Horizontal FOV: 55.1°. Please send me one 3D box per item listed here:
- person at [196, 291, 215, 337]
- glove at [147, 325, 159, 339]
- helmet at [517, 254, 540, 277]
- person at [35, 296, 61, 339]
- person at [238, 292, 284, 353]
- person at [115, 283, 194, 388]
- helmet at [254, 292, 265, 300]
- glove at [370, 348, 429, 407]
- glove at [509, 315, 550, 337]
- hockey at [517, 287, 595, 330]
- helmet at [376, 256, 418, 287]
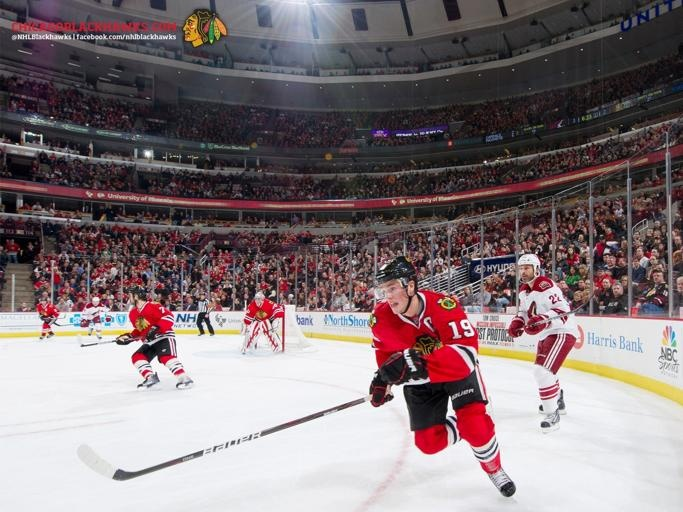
[{"bbox_3d":[-4.694,1.932,22.428,0.558,1.785,1.269,-5,15,-13],"label":"person"},{"bbox_3d":[-3.683,1.503,12.844,0.151,0.257,0.243,20,21,38],"label":"glove"},{"bbox_3d":[3.218,0.158,11.385,0.394,0.388,0.318,9,-14,-27],"label":"helmet"},{"bbox_3d":[-9.484,2.032,21.288,0.634,1.348,0.775,-8,16,-25],"label":"person"},{"bbox_3d":[-2.067,1.706,17.525,1.166,1.500,0.922,1,16,18],"label":"person"},{"bbox_3d":[-3.623,1.641,13.029,1.066,1.854,0.969,-3,15,-5],"label":"person"},{"bbox_3d":[-2.234,1.090,17.993,0.277,0.156,0.394,0,2,-3],"label":"helmet"},{"bbox_3d":[0.763,1.713,9.424,0.899,0.388,0.688,-37,-25,5],"label":"glove"},{"bbox_3d":[3.173,1.134,11.230,0.508,0.183,0.410,-3,-19,-30],"label":"glove"},{"bbox_3d":[3.950,0.990,12.052,2.231,0.266,0.339,-19,-6,14],"label":"hockey"},{"bbox_3d":[0.763,0.216,9.460,0.482,0.509,0.398,-4,-8,-18],"label":"helmet"}]
